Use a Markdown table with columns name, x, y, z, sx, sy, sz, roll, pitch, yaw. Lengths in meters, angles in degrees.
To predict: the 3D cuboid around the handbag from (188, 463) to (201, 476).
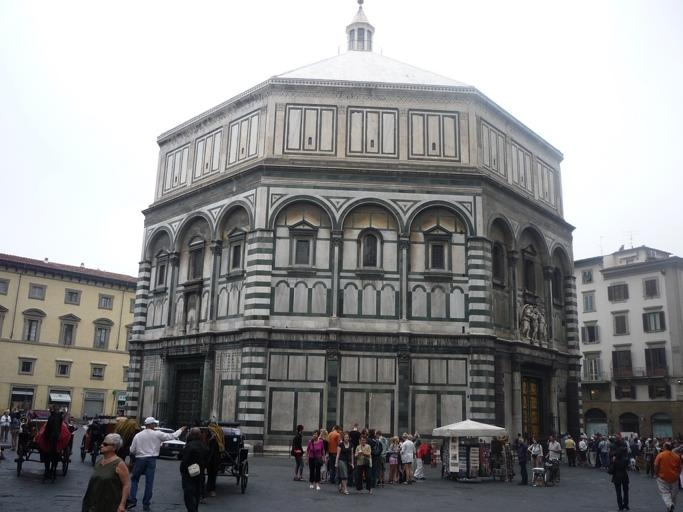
| name | x | y | z | sx | sy | sz | roll | pitch | yaw |
| --- | --- | --- | --- | --- | --- | --- | --- | --- | --- |
| handbag | -2.989 | 4.380 | 11.411 | 0.161 | 0.214 | 0.226 | -3 | -22 | -5 |

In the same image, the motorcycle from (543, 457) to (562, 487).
| name | x | y | z | sx | sy | sz | roll | pitch | yaw |
| --- | --- | --- | --- | --- | --- | --- | --- | --- | --- |
| motorcycle | 8.313 | 8.657 | 22.163 | 0.531 | 0.771 | 1.213 | -5 | -37 | 7 |

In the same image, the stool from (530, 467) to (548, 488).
| name | x | y | z | sx | sy | sz | roll | pitch | yaw |
| --- | --- | --- | --- | --- | --- | --- | --- | --- | --- |
| stool | 7.558 | 8.577 | 21.634 | 0.632 | 0.881 | 0.685 | 1 | -18 | 1 |

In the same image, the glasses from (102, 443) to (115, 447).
| name | x | y | z | sx | sy | sz | roll | pitch | yaw |
| --- | --- | --- | --- | --- | --- | --- | --- | --- | --- |
| glasses | -3.570 | 2.875 | 8.515 | 0.127 | 0.060 | 0.365 | 16 | -26 | -36 |
